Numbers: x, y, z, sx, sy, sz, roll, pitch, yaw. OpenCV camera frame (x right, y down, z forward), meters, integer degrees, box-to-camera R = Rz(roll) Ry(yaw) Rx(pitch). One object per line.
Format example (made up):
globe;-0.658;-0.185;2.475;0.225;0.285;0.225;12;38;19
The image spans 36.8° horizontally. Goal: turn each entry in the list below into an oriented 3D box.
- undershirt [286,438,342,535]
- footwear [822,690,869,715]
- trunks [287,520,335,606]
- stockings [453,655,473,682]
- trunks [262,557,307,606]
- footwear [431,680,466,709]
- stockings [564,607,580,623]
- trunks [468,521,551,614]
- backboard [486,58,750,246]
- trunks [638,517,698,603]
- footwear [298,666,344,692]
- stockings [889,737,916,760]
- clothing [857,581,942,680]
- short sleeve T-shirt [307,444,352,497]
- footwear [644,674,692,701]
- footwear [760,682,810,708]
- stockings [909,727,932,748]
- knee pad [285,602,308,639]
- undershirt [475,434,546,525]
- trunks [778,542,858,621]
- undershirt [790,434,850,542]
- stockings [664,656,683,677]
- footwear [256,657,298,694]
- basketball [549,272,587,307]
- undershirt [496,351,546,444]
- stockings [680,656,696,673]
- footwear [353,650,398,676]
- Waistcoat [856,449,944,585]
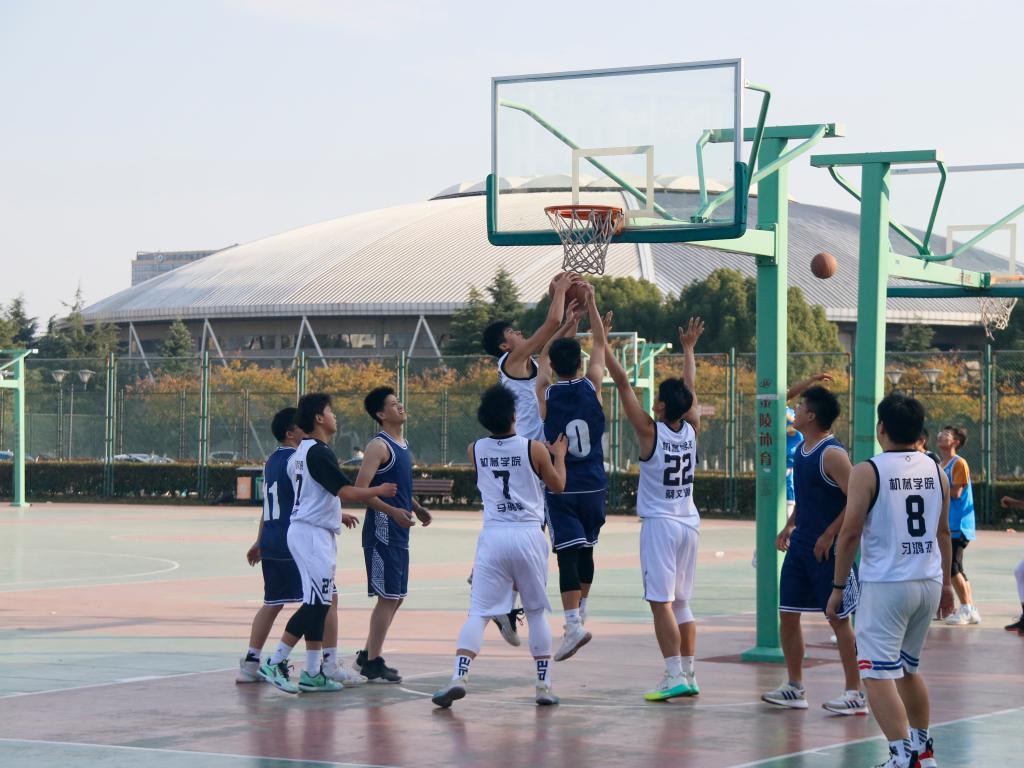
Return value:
undershirt;-1.659;0.929;13.300;0.451;0.796;0.819;0;-4;-31
footwear;2.721;2.624;12.527;0.411;0.199;0.158;1;-8;-3
trunks;-1.693;1.546;13.107;0.399;0.707;0.280;0;-3;-9
stockings;-0.394;2.335;12.571;0.155;0.228;0.244;0;-4;-3
trunks;-1.948;1.724;13.331;0.392;0.486;0.271;-2;-14;-12
footwear;-0.506;2.553;12.560;0.272;0.246;0.334;0;-4;-4
stockings;0.528;2.020;13.270;0.127;0.109;0.113;-2;1;-28
trunks;-0.013;1.517;12.730;0.707;0.858;0.452;0;8;-5
backboard;0.996;-2.274;15.274;2.888;1.753;0.198;2;5;31
trunks;1.317;1.485;12.862;0.432;0.699;0.196;2;-4;-32
footwear;-1.652;2.601;13.291;0.425;0.194;0.149;2;-5;-3
stockings;2.701;2.543;10.681;0.191;0.163;0.162;1;-8;10
clothing;2.728;1.745;10.834;0.587;0.700;0.227;1;-4;-15
short sleeve T-shirt;-1.564;0.733;13.022;0.164;0.416;0.410;-23;11;-32
footwear;1.319;2.550;12.768;0.457;0.210;0.173;-14;-22;34
footwear;2.246;2.595;12.673;0.416;0.199;0.162;4;-8;3
stockings;2.854;2.504;10.768;0.158;0.158;0.102;2;5;10
knee pad;-1.784;2.026;12.992;0.238;0.308;0.104;0;-3;-6
undershirt;0.032;0.812;12.821;0.608;0.822;0.509;-3;5;5
trunks;2.511;1.562;12.568;0.694;0.674;0.404;3;4;44
undershirt;2.523;0.879;12.616;0.506;0.859;0.564;-1;3;-27
stockings;1.349;2.362;12.741;0.159;0.171;0.161;-1;2;6
footwear;-2.018;2.541;13.217;0.397;0.200;0.144;33;6;13
basketball;0.501;-0.856;13.688;0.246;0.245;0.305;0;0;3
undershirt;0.198;0.109;13.864;0.344;0.830;0.412;11;9;35
stockings;1.483;2.399;12.959;0.122;0.150;0.158;1;-13;-5
footwear;-1.185;2.516;13.629;0.496;0.212;0.175;6;1;16
Waistcoat;2.761;0.958;11.070;0.734;1.038;0.550;1;1;-19
